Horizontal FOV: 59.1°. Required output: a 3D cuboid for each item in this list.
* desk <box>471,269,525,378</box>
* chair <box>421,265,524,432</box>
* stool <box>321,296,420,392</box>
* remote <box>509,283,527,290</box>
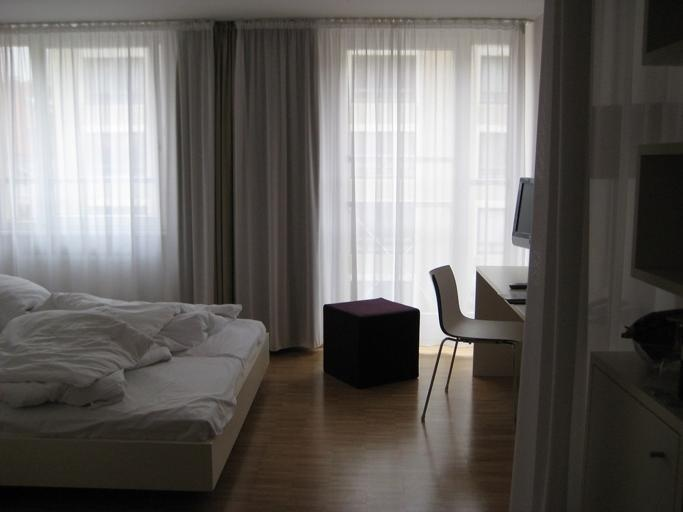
[{"bbox_3d":[1.057,0.443,4.034,0.347,0.469,0.698,1,12,5],"label":"desk"},{"bbox_3d":[0.930,0.572,3.974,0.660,0.947,0.598,1,6,27],"label":"chair"},{"bbox_3d":[0.219,0.579,4.536,0.569,0.599,0.585,-5,9,-33],"label":"stool"},{"bbox_3d":[1.088,0.187,3.716,0.102,0.021,0.105,2,13,6],"label":"remote"}]
